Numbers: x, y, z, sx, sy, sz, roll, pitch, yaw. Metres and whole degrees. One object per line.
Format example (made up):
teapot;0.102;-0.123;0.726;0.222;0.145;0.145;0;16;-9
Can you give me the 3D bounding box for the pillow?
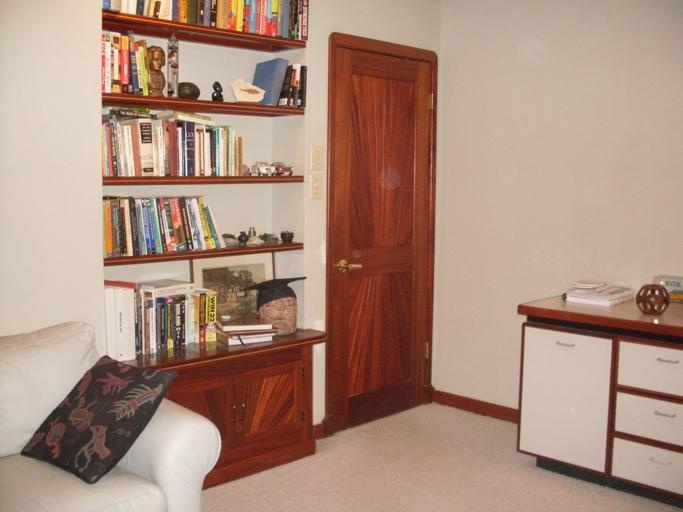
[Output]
pillow;-1.026;0.675;2.260;0.518;0.345;0.377;4;12;28
